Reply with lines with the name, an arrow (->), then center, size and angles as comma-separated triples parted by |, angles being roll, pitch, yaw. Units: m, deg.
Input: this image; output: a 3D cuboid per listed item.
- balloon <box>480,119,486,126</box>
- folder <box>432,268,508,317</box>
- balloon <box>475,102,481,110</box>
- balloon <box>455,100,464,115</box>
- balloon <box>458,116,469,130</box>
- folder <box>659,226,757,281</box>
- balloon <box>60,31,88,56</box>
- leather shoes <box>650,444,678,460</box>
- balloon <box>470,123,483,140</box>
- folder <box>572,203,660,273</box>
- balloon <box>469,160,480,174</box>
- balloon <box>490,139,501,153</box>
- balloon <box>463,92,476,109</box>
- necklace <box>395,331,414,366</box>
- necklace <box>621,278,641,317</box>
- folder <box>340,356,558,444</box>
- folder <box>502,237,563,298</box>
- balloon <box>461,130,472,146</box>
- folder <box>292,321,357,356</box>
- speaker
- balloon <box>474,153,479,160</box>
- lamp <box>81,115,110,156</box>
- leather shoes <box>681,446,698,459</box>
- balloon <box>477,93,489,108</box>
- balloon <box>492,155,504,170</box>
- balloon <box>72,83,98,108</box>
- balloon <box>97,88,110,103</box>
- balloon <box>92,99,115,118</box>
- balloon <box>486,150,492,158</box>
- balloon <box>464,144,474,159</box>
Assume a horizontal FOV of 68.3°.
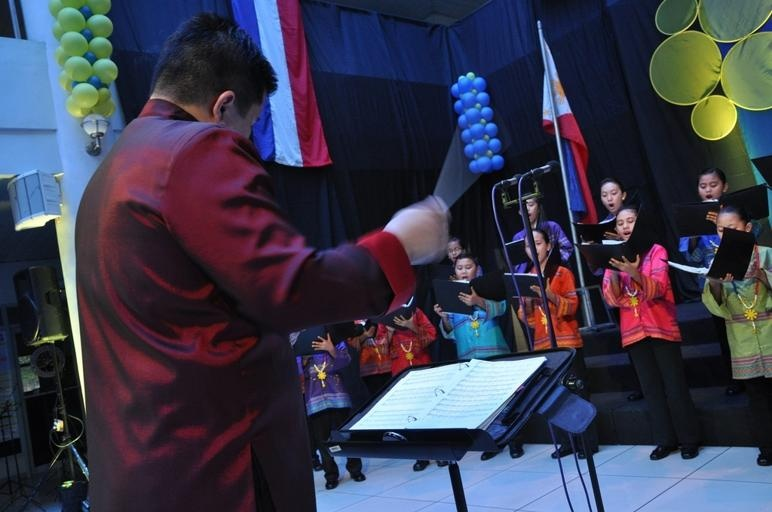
balloon -> 1.253, -1.730, 7.399 | 0.068, 0.082, 0.068 | -11, 22, -11
folder -> 0.628, 0.307, 4.347 | 0.524, 0.339, 0.125 | -1, 41, -4
balloon -> 1.190, -1.945, 7.418 | 0.071, 0.085, 0.071 | 0, -6, -4
balloon -> 0.948, -1.942, 7.502 | 0.154, 0.185, 0.161 | -6, 3, 6
balloon -> 0.990, -1.732, 7.444 | 0.075, 0.149, 0.146 | -10, 29, -33
folder -> 1.944, -0.014, 3.389 | 0.332, 0.337, 0.225 | 9, 24, -19
balloon -> -2.599, -1.755, 4.720 | 0.134, 0.157, 0.133 | -14, 29, 26
leather shoes -> 1.861, 1.325, 3.858 | 0.225, 0.089, 0.076 | 2, -8, -26
balloon -> 1.180, -1.591, 7.393 | 0.183, 0.216, 0.183 | -3, 27, 24
folder -> 1.506, -0.088, 3.731 | 0.459, 0.320, 0.305 | -10, -10, 21
balloon -> 1.136, -1.150, 7.400 | 0.080, 0.148, 0.145 | -12, 41, -11
balloon -> 1.390, -1.410, 7.315 | 0.119, 0.137, 0.119 | -30, 8, 42
balloon -> 1.092, -2.017, 7.448 | 0.177, 0.207, 0.179 | -5, 21, 11
necklace -> 0.159, 0.837, 5.053 | 0.064, 0.240, 0.145 | 0, -8, -26
necklace -> 1.698, 0.279, 3.945 | 0.025, 0.227, 0.067 | 5, -23, -30
folder -> 0.210, 0.474, 1.919 | 0.464, 0.081, 0.342 | -14, 19, 43
folder -> 1.099, 0.096, 4.276 | 0.252, 0.426, 0.429 | 6, 49, 41
balloon -> 1.043, -1.536, 7.414 | 0.159, 0.186, 0.160 | -11, 5, 0
folder -> -0.493, 0.634, 4.528 | 0.548, 0.148, 0.424 | -6, 0, 6
speaker -> -3.215, 0.462, 5.347 | 0.405, 0.721, 0.533 | -1, -11, -32
balloon -> 1.165, -1.283, 7.383 | 0.065, 0.049, 0.065 | -8, 15, -15
lamp -> -2.499, -1.028, 4.981 | 0.272, 0.411, 0.329 | -3, -5, -27
leather shoes -> 1.998, 1.298, 3.756 | 0.051, 0.061, 0.142 | -4, 1, 44
balloon -> 1.288, -2.033, 7.475 | 0.106, 0.174, 0.218 | -14, -12, 39
balloon -> 1.438, -1.177, 7.351 | 0.165, 0.166, 0.199 | 6, -36, 19
balloon -> -2.518, -1.324, 4.806 | 0.194, 0.196, 0.224 | -4, 2, -42
balloon -> -2.427, -1.375, 4.879 | 0.108, 0.125, 0.108 | 5, -7, -9
balloon -> -2.479, -1.267, 4.987 | 0.122, 0.125, 0.159 | 8, -15, -19
balloon -> 1.320, -1.309, 7.330 | 0.052, 0.074, 0.073 | -7, -46, -16
balloon -> 1.074, -1.352, 7.390 | 0.150, 0.176, 0.151 | -5, 1, -3
